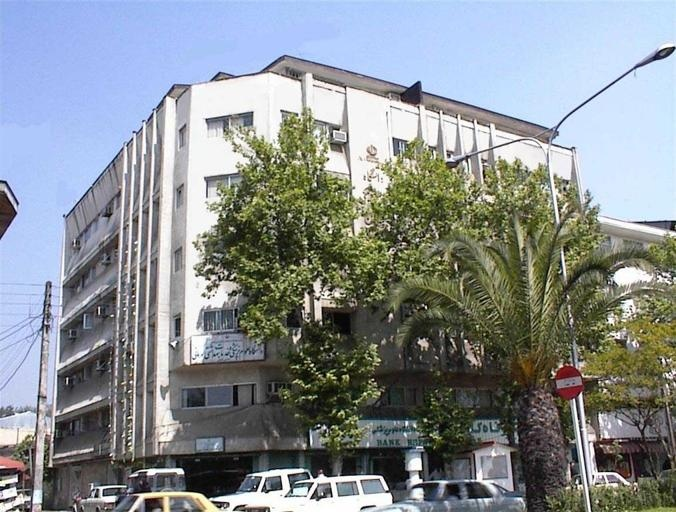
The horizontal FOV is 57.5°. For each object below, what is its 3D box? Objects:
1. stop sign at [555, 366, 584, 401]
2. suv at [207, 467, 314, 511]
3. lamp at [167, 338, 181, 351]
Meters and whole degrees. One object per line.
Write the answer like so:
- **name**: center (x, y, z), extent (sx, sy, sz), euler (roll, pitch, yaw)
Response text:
- **stop sign**: center (5.581, 2.978, 14.762), extent (0.431, 0.782, 0.700), euler (8, -24, -32)
- **suv**: center (-2.941, 8.975, 23.899), extent (2.835, 1.476, 1.681), euler (14, -26, -38)
- **lamp**: center (-9.221, 4.980, 34.704), extent (0.167, 0.629, 1.468), euler (10, -26, -36)
